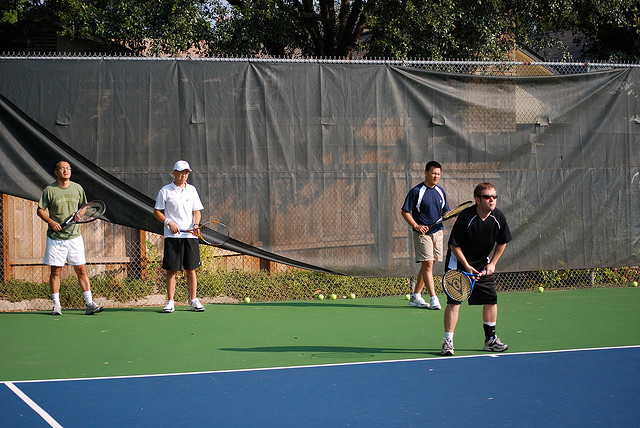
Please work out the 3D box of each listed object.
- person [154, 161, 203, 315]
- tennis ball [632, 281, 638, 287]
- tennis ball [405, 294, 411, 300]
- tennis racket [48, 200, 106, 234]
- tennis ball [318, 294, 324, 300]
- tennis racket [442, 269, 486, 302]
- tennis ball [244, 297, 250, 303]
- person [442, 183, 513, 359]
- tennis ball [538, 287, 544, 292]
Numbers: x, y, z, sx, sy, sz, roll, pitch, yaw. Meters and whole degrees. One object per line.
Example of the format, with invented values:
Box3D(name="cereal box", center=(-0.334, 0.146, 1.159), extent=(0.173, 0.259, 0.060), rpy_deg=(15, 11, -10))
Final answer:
Box3D(name="person", center=(-2.423, 0.403, 13.669), extent=(0.771, 2.683, 1.367), rpy_deg=(-2, 11, -10))
Box3D(name="tennis ball", center=(6.183, 1.362, 15.514), extent=(0.082, 0.092, 0.103), rpy_deg=(-16, 1, 25))
Box3D(name="tennis ball", center=(1.598, 1.512, 14.448), extent=(0.065, 0.072, 0.070), rpy_deg=(-17, 29, 10))
Box3D(name="tennis racket", center=(-3.942, 0.030, 12.990), extent=(1.036, 0.438, 0.119), rpy_deg=(-29, -10, -18))
Box3D(name="tennis ball", center=(0.016, 1.530, 14.646), extent=(0.078, 0.067, 0.069), rpy_deg=(-5, 38, 16))
Box3D(name="tennis racket", center=(2.020, 1.000, 11.151), extent=(0.563, 0.448, 0.246), rpy_deg=(2, 11, 11))
Box3D(name="tennis ball", center=(-1.341, 1.560, 14.434), extent=(0.092, 0.077, 0.157), rpy_deg=(-1, 12, -6))
Box3D(name="person", center=(2.221, 0.790, 11.272), extent=(0.957, 2.447, 0.574), rpy_deg=(0, 11, 1))
Box3D(name="tennis ball", center=(4.236, 1.437, 15.152), extent=(0.072, 0.077, 0.073), rpy_deg=(21, 29, -12))
